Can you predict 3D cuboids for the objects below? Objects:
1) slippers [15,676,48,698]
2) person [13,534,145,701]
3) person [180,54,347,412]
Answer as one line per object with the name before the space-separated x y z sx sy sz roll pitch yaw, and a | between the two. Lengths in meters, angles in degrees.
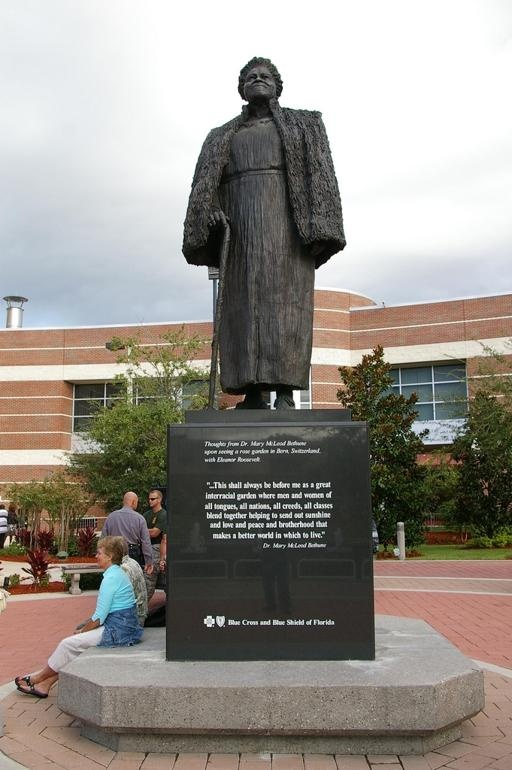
slippers | -1.586 2.144 4.886 0.202 0.070 0.142 20 -12 -7
person | -1.095 1.519 4.780 0.593 0.878 0.501 -1 -3 -8
person | 0.054 -1.145 5.011 1.150 2.647 0.547 -2 -3 7
